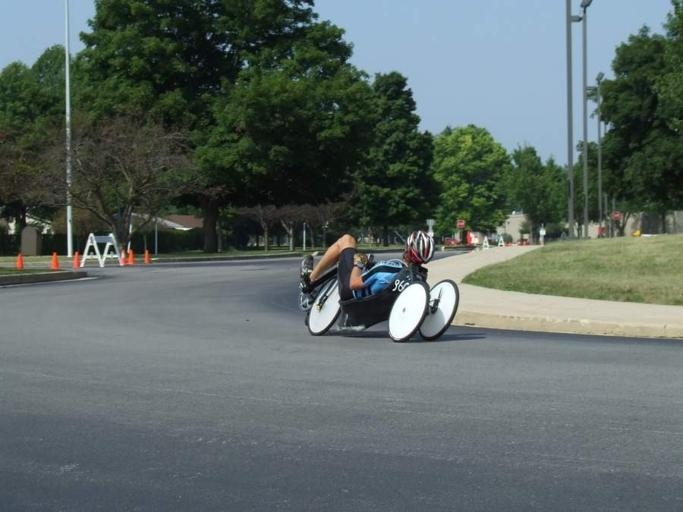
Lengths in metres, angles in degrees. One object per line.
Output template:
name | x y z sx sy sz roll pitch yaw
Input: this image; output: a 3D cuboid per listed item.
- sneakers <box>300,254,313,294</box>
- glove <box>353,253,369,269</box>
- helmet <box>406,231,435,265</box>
sneakers | -0.528 0.251 15.420 0.175 0.611 0.241 4 3 -13
glove | 0.306 0.063 14.644 0.171 0.177 0.238 3 -1 -3
helmet | 1.245 -0.200 14.960 0.362 0.534 0.474 11 -19 -29
